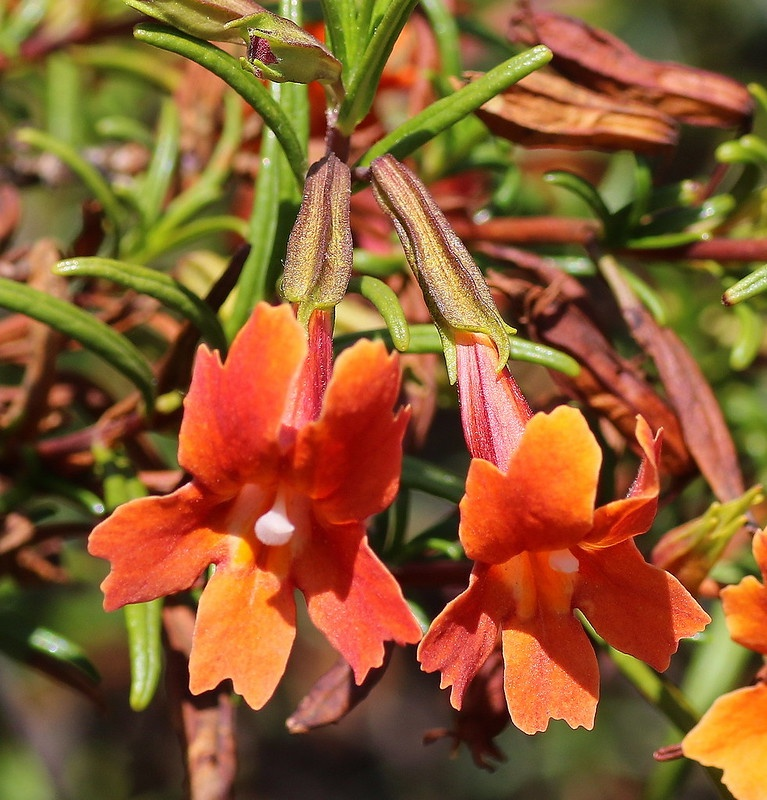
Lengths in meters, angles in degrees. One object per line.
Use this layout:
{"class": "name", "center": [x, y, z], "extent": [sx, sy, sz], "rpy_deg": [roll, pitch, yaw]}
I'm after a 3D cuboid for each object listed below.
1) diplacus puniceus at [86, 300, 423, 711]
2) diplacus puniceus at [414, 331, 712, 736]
{"class": "diplacus puniceus", "center": [-0.069, 0.078, 0.752], "extent": [0.111, 0.272, 0.284], "rpy_deg": [-36, 25, -30]}
{"class": "diplacus puniceus", "center": [0.133, 0.124, 0.790], "extent": [0.233, 0.092, 0.331], "rpy_deg": [-12, 91, -12]}
